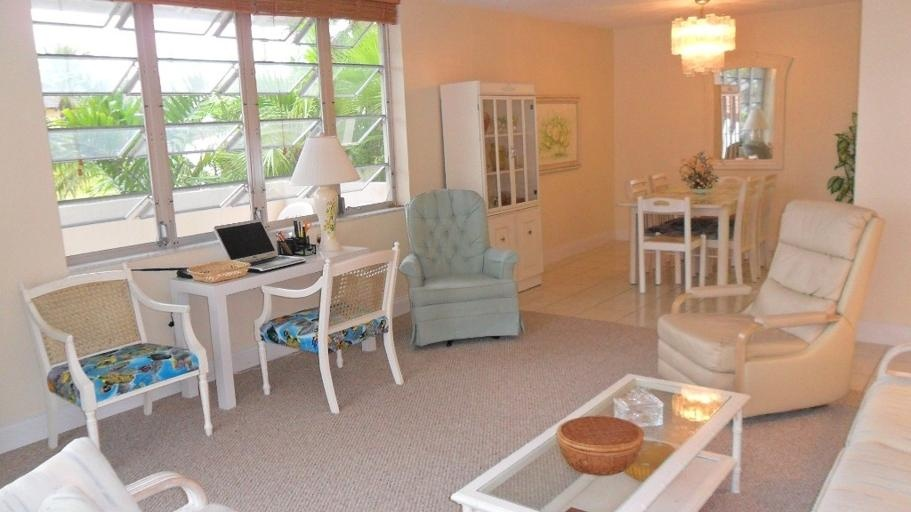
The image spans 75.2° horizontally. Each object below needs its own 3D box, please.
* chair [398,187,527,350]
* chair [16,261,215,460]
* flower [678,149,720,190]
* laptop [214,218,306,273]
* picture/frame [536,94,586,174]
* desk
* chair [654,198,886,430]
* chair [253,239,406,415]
[{"bbox_3d":[0.024,0.086,6.254,1.426,1.314,1.469,3,19,15],"label":"chair"},{"bbox_3d":[-2.680,0.836,4.685,1.180,1.144,1.113,6,13,13],"label":"chair"},{"bbox_3d":[3.157,-1.105,7.700,0.418,0.431,0.345,-1,8,14],"label":"flower"},{"bbox_3d":[-1.815,-0.098,5.469,0.636,0.359,0.573,5,14,26],"label":"laptop"},{"bbox_3d":[1.505,-1.808,8.883,0.050,1.110,1.220,-12,15,-28],"label":"picture/frame"},{"bbox_3d":[-1.649,0.636,5.256,0.442,0.752,1.457,7,13,34],"label":"desk"},{"bbox_3d":[2.700,0.307,5.520,2.157,1.878,1.471,-3,8,-13],"label":"chair"},{"bbox_3d":[-1.152,0.583,5.378,1.020,1.153,1.065,5,11,40],"label":"chair"}]
